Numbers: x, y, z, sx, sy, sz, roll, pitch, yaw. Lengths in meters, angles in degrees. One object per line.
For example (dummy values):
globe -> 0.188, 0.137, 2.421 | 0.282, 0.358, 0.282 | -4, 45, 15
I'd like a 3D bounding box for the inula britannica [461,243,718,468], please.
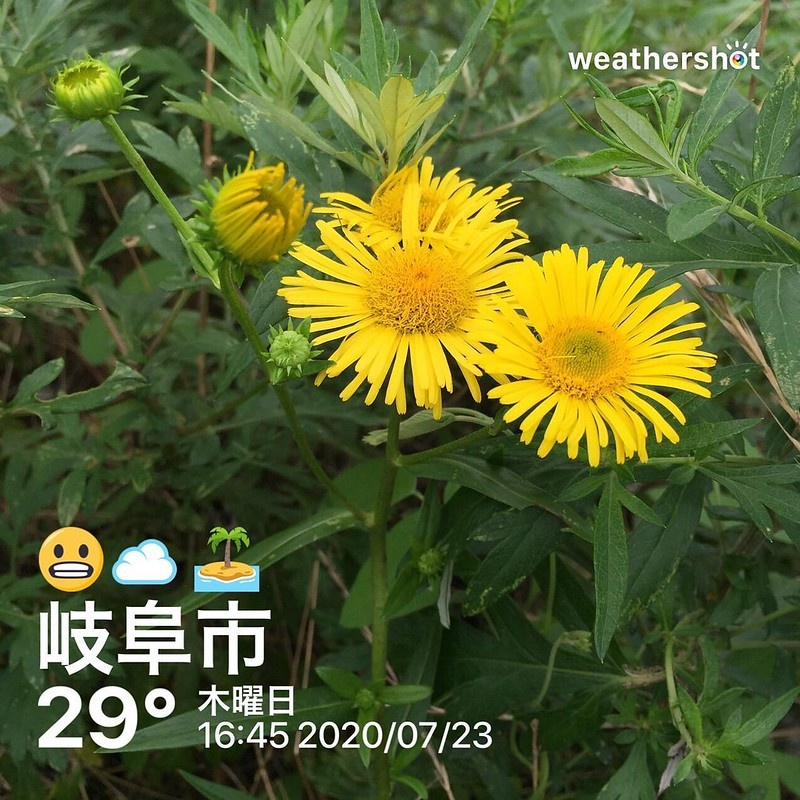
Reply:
inula britannica -> 0.227, -0.054, 0.896 | 0.263, 0.076, 0.274 | 8, 64, -2
